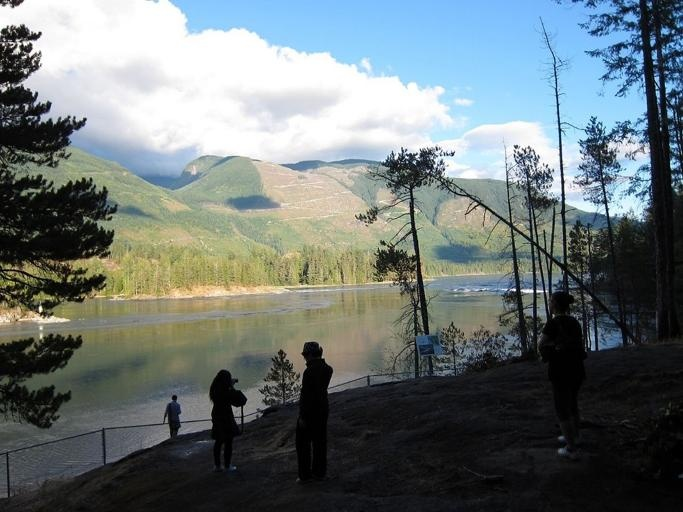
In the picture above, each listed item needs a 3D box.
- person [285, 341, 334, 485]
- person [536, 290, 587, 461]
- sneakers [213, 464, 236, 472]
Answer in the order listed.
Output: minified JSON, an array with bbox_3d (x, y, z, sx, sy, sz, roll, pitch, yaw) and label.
[{"bbox_3d":[-0.757,3.947,15.207,1.051,2.694,0.397,-6,-3,-5],"label":"person"},{"bbox_3d":[5.434,2.853,14.554,1.049,3.921,0.303,-7,-3,-2],"label":"person"},{"bbox_3d":[-3.231,5.821,16.470,0.582,0.258,0.216,-1,-2,-11],"label":"sneakers"}]
